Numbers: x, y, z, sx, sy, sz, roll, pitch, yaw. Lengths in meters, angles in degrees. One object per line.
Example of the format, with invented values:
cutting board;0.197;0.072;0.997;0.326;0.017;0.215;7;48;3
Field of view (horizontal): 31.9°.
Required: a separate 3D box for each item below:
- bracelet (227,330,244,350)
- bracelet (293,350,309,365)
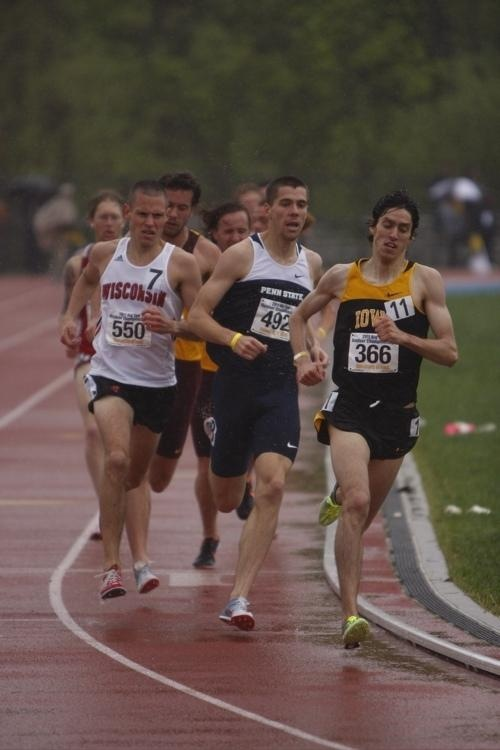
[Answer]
bracelet;-0.063;-0.155;3.846;0.027;0.068;0.064;33;26;0
bracelet;0.229;-0.075;3.910;0.057;0.022;0.063;-11;-14;-37
